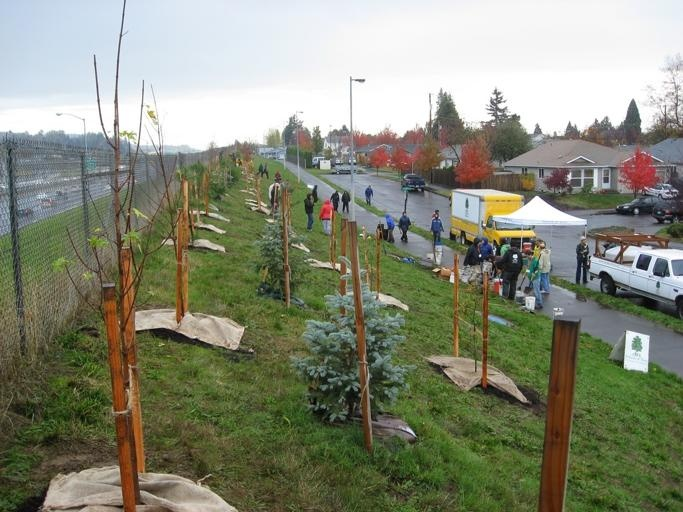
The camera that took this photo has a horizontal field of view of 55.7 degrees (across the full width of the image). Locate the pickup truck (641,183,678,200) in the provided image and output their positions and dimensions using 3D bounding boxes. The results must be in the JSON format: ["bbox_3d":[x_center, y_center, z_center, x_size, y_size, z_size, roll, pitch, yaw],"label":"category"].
[{"bbox_3d":[26.180,-5.306,53.079,1.432,1.567,3.987,-2,9,-2],"label":"pickup truck"}]

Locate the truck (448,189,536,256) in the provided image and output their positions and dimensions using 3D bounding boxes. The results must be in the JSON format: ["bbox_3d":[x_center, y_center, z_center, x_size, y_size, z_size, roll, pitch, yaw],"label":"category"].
[{"bbox_3d":[7.024,-1.628,30.820,1.754,2.940,5.811,1,9,-12],"label":"truck"}]

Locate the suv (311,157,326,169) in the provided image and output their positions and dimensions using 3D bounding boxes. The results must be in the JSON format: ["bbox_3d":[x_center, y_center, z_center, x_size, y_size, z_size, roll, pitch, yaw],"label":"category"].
[{"bbox_3d":[-3.627,-14.254,98.309,1.171,1.330,2.037,-1,26,-7],"label":"suv"}]
